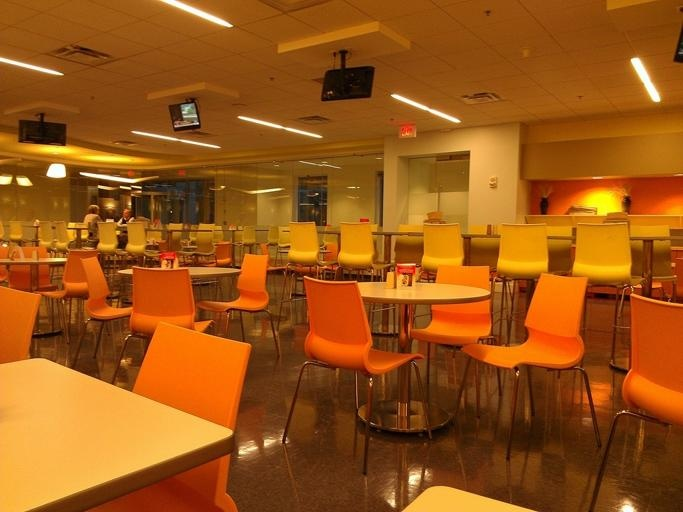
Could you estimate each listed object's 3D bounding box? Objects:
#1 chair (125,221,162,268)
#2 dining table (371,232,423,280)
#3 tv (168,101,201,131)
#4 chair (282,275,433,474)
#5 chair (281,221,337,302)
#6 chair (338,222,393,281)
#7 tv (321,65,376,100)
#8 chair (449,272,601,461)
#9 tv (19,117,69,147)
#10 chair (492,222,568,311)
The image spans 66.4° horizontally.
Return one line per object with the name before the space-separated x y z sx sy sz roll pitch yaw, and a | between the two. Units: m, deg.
chair | -3.244 -0.132 8.659 0.683 0.657 0.586 6 -5 -2
dining table | 0.720 -0.013 6.718 0.728 0.569 0.659 0 1 -4
tv | -2.694 -2.425 8.982 0.887 0.555 0.094 -1 11 29
chair | 0.103 0.652 3.198 0.601 1.054 0.546 6 9 43
chair | -0.343 0.114 6.726 0.661 0.950 0.693 4 -1 43
chair | 0.312 0.021 6.273 0.601 0.767 0.614 5 4 30
tv | 0.052 -2.218 6.628 0.675 0.382 0.361 4 9 13
chair | 1.216 0.644 3.422 0.898 0.955 0.897 -2 4 -35
tv | -5.991 -2.519 10.482 1.039 0.507 0.130 -1 6 -30
chair | 1.756 0.172 5.513 0.646 0.925 0.641 0 -1 -8
